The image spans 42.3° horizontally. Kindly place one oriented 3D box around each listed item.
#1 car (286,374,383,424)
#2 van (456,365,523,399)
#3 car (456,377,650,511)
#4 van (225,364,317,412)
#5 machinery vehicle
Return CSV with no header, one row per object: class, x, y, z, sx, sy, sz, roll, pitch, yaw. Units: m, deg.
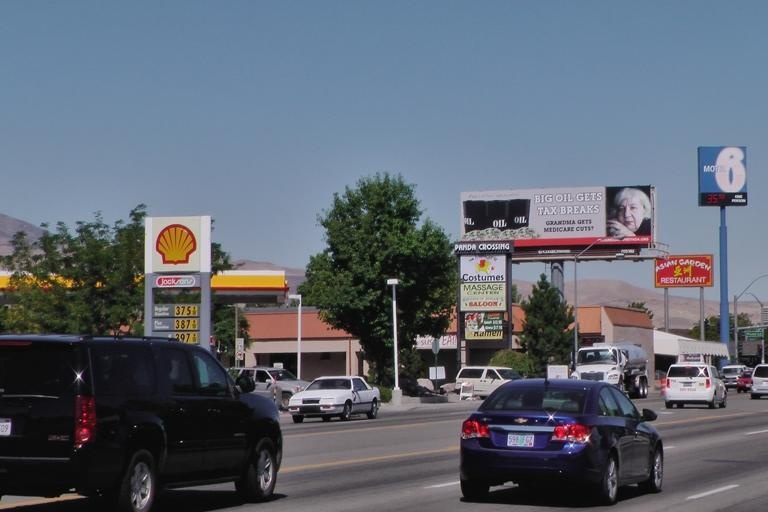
car,-1.997,5.854,40.539,1.703,1.782,4.123,-6,-6,33
van,6.748,7.766,60.547,4.403,1.944,2.151,-4,-7,38
car,3.327,3.277,18.102,2.205,1.921,5.541,-3,-5,34
van,-5.728,6.020,46.603,3.740,1.632,2.036,2,6,8
machinery vehicle,11.889,5.966,55.169,4.035,3.786,7.943,-4,-10,26
